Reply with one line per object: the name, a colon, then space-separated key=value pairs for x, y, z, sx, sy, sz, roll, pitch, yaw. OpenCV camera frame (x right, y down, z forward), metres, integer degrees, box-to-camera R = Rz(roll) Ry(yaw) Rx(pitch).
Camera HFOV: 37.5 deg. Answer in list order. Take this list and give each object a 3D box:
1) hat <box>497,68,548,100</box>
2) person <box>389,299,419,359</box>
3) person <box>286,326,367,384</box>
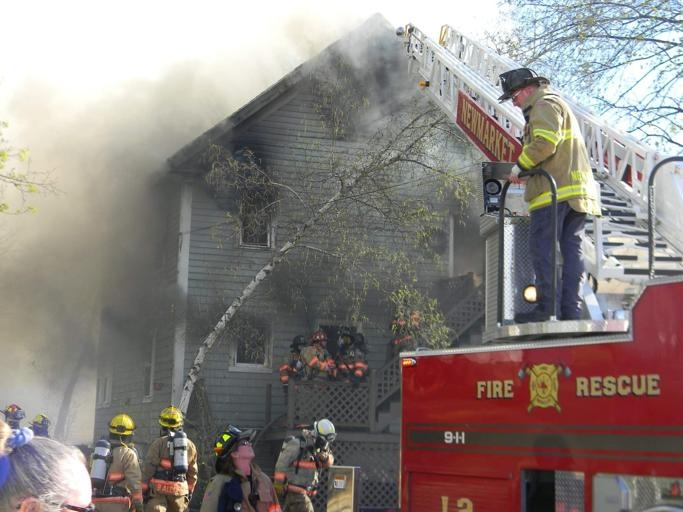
hat: x=1.643 y=-1.592 z=9.145 sx=0.338 sy=0.153 sz=0.303 roll=-26 pitch=0 yaw=13
person: x=1.215 y=1.386 z=19.139 sx=0.804 sy=0.916 sz=0.623 roll=-2 pitch=-11 yaw=-23
person: x=-0.236 y=1.782 z=17.843 sx=1.578 sy=1.155 sz=0.771 roll=6 pitch=-21 yaw=-11
